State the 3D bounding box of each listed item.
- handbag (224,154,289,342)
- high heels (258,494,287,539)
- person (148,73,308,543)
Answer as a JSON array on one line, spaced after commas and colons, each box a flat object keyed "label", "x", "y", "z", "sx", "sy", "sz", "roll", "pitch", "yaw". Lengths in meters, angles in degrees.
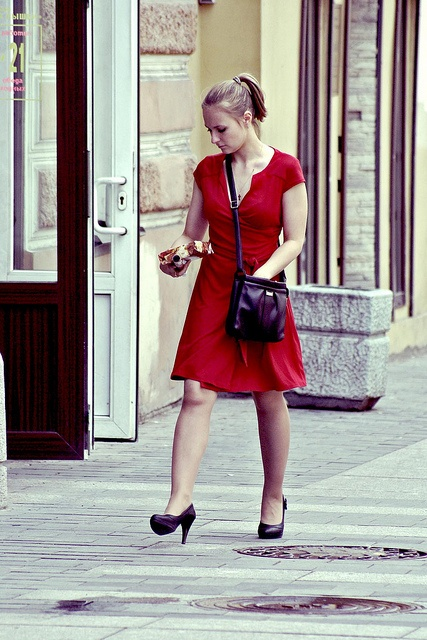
[{"label": "handbag", "x": 0.144, "y": -0.229, "z": 4.632, "sx": 0.212, "sy": 0.617, "sz": 0.310, "roll": 0, "pitch": 8, "yaw": 1}, {"label": "high heels", "x": 0.203, "y": 0.696, "z": 4.922, "sx": 0.092, "sy": 0.130, "sz": 0.301, "roll": -4, "pitch": 6, "yaw": 7}, {"label": "person", "x": 0.041, "y": -0.021, "z": 4.705, "sx": 0.650, "sy": 1.553, "sz": 0.414, "roll": 1, "pitch": 1, "yaw": -40}]
